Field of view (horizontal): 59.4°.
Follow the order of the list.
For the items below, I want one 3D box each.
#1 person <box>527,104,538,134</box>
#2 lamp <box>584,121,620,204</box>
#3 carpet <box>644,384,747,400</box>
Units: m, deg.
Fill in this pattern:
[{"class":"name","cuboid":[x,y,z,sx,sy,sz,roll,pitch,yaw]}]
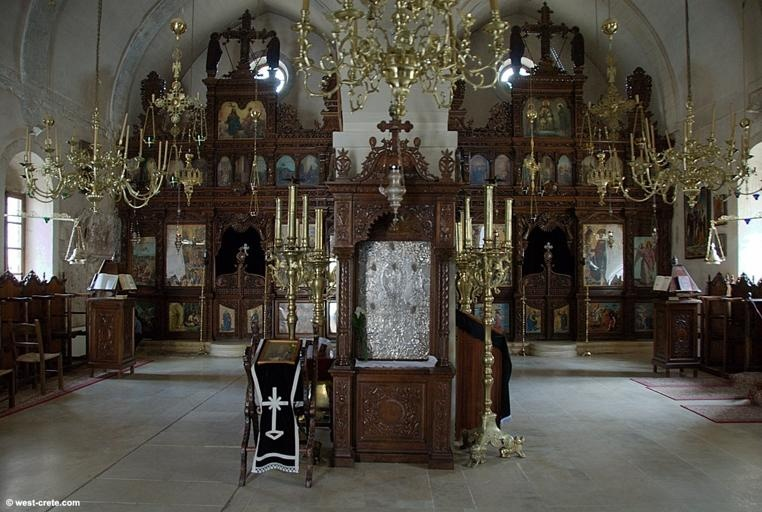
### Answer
[{"class":"person","cuboid":[4.055,-3.689,17.965,0.248,0.815,0.424,4,11,19]},{"class":"lamp","cuboid":[5.231,-2.310,15.849,0.989,2.005,0.975,-6,4,-44]},{"class":"carpet","cuboid":[6.410,2.769,13.444,1.692,0.106,0.816,0,10,-1]}]
